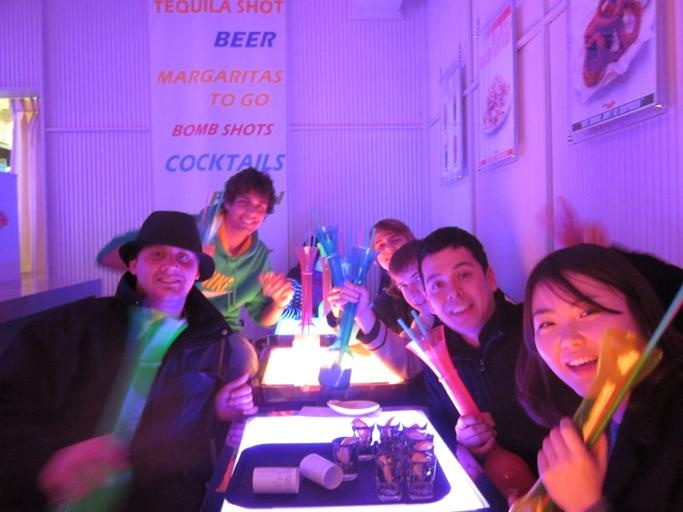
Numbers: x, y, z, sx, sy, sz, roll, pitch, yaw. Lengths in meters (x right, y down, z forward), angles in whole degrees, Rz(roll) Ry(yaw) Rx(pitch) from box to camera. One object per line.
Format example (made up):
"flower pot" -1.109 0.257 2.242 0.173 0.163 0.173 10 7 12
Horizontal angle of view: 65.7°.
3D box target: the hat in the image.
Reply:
"hat" -0.748 -0.081 2.318 0.343 0.248 0.445 5 -10 -10

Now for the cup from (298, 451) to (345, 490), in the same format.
"cup" -0.068 0.711 1.736 0.145 0.085 0.069 1 3 13

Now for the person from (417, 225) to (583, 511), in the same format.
"person" 0.541 0.338 2.060 0.333 1.054 0.281 -22 -36 4
